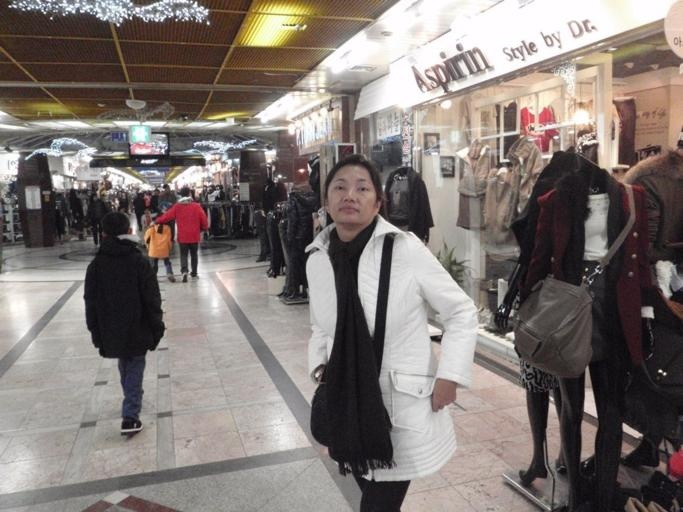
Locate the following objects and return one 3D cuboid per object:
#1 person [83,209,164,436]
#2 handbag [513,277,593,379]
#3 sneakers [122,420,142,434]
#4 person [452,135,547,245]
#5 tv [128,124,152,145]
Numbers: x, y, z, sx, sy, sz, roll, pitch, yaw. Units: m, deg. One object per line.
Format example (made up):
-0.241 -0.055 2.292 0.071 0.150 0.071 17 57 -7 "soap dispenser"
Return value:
-1.664 0.510 3.549 0.429 1.673 0.414 5 11 36 "person"
1.009 0.335 2.212 0.338 0.428 0.247 2 10 21 "handbag"
-1.609 1.300 3.546 0.074 0.094 0.199 0 -3 -3 "sneakers"
1.617 -0.719 4.738 0.354 1.148 1.201 -5 12 -21 "person"
-5.423 -3.297 12.515 0.515 0.537 0.393 1 6 2 "tv"
